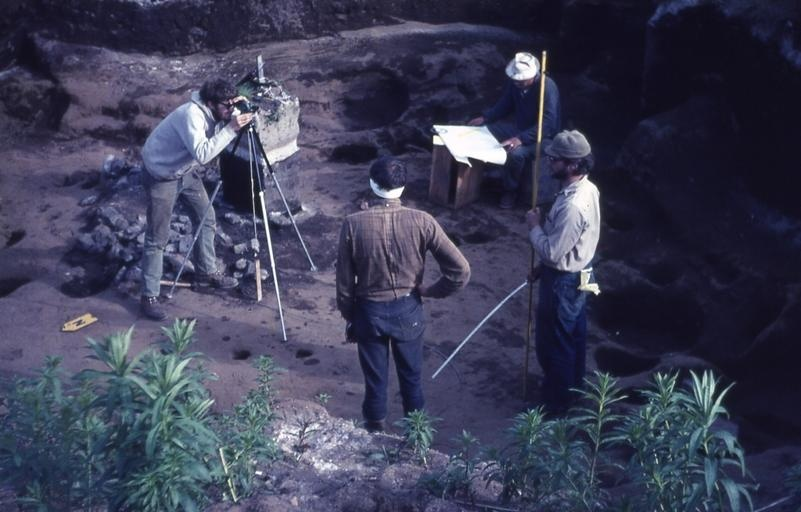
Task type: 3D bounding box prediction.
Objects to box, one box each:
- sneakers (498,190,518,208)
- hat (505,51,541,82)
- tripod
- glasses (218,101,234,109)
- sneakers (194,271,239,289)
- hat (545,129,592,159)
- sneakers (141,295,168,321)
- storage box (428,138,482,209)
[{"bbox_3d":[1.743,-0.900,13.113,0.159,0.159,0.378,14,36,20],"label":"sneakers"},{"bbox_3d":[1.809,-2.750,11.787,0.436,0.242,0.552,9,37,6],"label":"hat"},{"bbox_3d":[-2.349,-0.227,11.504,1.571,2.508,1.805,18,37,18],"label":"tripod"},{"bbox_3d":[-2.245,-1.933,10.302,0.078,0.053,0.120,43,21,25],"label":"glasses"},{"bbox_3d":[-2.658,0.345,11.539,0.656,0.262,0.242,-2,18,-3],"label":"sneakers"},{"bbox_3d":[1.931,-1.273,9.424,0.348,0.198,0.425,-20,28,-37],"label":"hat"},{"bbox_3d":[-3.372,0.727,10.908,0.201,0.220,0.484,-32,56,-25],"label":"sneakers"},{"bbox_3d":[0.865,-1.305,12.751,0.527,0.975,0.747,24,31,26],"label":"storage box"}]
